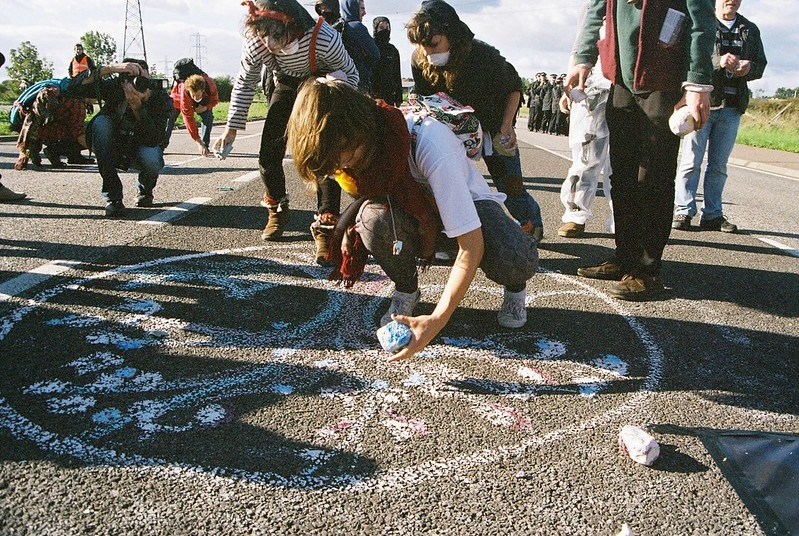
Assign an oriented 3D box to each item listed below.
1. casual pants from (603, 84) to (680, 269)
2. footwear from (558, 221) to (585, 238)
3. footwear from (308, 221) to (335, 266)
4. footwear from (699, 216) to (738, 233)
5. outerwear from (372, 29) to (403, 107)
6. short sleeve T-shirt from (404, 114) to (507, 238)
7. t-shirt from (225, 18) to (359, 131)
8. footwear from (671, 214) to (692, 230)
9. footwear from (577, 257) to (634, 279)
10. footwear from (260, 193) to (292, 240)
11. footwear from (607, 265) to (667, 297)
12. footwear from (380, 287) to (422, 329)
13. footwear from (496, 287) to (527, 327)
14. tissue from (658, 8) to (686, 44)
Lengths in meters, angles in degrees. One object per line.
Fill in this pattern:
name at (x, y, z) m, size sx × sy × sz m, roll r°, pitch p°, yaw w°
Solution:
casual pants at (1.700, -0.603, 3.996) m, size 0.226 × 1.309 × 0.637 m, roll -3°, pitch 20°, yaw -22°
footwear at (1.705, -0.367, 5.471) m, size 0.312 × 0.121 × 0.110 m, roll 2°, pitch 3°, yaw -23°
footwear at (-0.594, -0.151, 4.268) m, size 0.179 × 0.229 × 0.558 m, roll -1°, pitch 35°, yaw -8°
footwear at (3.380, -0.465, 5.938) m, size 0.438 × 0.179 × 0.168 m, roll 3°, pitch 7°, yaw 27°
outerwear at (-0.222, -3.013, 8.526) m, size 0.528 × 1.266 × 0.407 m, roll -1°, pitch 1°, yaw 2°
short sleeve T-shirt at (0.283, -0.361, 2.756) m, size 0.232 × 0.581 × 0.592 m, roll -36°, pitch 40°, yaw 0°
t-shirt at (-0.781, -1.380, 4.387) m, size 0.954 × 0.905 × 0.807 m, roll -17°, pitch 3°, yaw -8°
footwear at (2.982, -0.480, 5.903) m, size 0.163 × 0.133 × 0.332 m, roll 0°, pitch -1°, yaw 30°
footwear at (1.550, 0.000, 4.217) m, size 0.358 × 0.128 × 0.142 m, roll 2°, pitch 2°, yaw 6°
footwear at (-1.099, -0.429, 4.848) m, size 0.145 × 0.282 × 0.297 m, roll 6°, pitch 21°, yaw -18°
footwear at (1.657, 0.113, 3.944) m, size 0.382 × 0.135 × 0.165 m, roll -2°, pitch 3°, yaw -27°
footwear at (0.004, 0.213, 3.325) m, size 0.136 × 0.290 × 0.131 m, roll 35°, pitch 1°, yaw 31°
footwear at (0.699, 0.235, 3.473) m, size 0.166 × 0.164 × 0.284 m, roll 7°, pitch 29°, yaw 18°
tissue at (1.763, -1.545, 3.615) m, size 0.141 × 0.226 × 0.054 m, roll 5°, pitch 19°, yaw 1°
